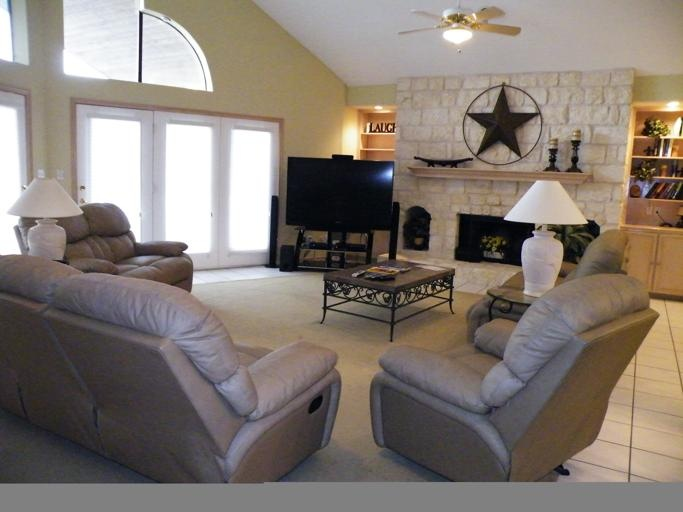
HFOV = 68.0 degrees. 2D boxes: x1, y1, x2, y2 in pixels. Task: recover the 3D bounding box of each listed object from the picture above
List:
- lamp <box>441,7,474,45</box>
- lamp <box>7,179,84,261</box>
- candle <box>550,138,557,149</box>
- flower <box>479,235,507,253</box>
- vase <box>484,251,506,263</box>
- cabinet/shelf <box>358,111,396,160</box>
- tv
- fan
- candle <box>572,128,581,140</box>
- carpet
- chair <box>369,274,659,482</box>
[{"bbox_3d":[0.958,-1.920,4.242,0.228,0.192,0.327,3,4,15],"label":"lamp"},{"bbox_3d":[-2.288,-0.277,3.844,0.455,0.622,0.399,4,5,27],"label":"lamp"},{"bbox_3d":[2.650,-1.408,6.378,0.097,0.135,0.083,6,6,41],"label":"candle"},{"bbox_3d":[2.139,-0.163,7.190,0.277,0.083,0.266,6,15,23],"label":"flower"},{"bbox_3d":[2.147,0.004,7.191,0.284,0.142,0.186,11,6,20],"label":"vase"},{"bbox_3d":[0.565,-1.981,8.306,0.627,0.773,0.410,3,5,9],"label":"cabinet/shelf"},{"bbox_3d":[-0.044,-0.856,6.990,1.172,0.697,0.152,3,14,0],"label":"tv"},{"bbox_3d":[1.234,-2.398,5.171,0.952,0.417,0.883,14,26,35],"label":"fan"},{"bbox_3d":[2.901,-1.489,6.259,0.107,0.161,0.267,4,4,23],"label":"candle"},{"bbox_3d":[-0.090,0.985,4.142,1.524,1.178,1.599,-8,11,-42],"label":"carpet"},{"bbox_3d":[0.859,0.537,2.643,1.163,0.914,1.166,-7,10,-41],"label":"chair"}]
